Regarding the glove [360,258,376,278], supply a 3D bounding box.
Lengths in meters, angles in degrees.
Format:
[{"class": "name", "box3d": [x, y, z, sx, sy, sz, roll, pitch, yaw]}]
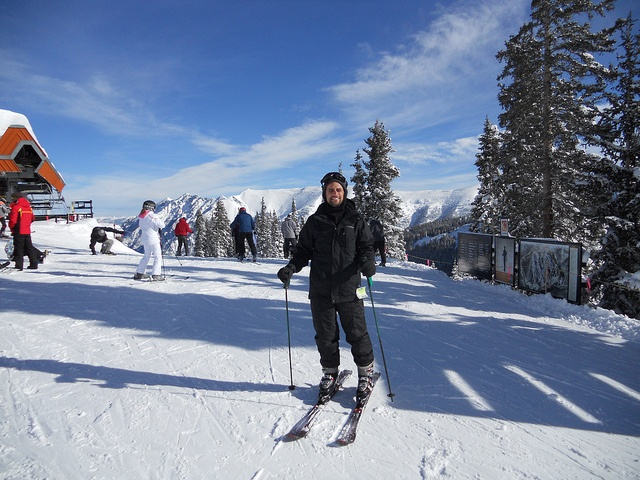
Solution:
[{"class": "glove", "box3d": [0.939, 0.570, 8.671, 0.279, 0.401, 0.406, 4, 9, 4]}]

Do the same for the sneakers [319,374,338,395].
[{"class": "sneakers", "box3d": [0.163, 2.855, 8.874, 0.211, 0.235, 0.538, -5, -14, 9]}]

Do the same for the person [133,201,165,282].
[{"class": "person", "box3d": [-5.306, 0.021, 14.002, 0.839, 2.503, 0.862, 0, 10, -21]}]

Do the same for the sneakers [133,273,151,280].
[{"class": "sneakers", "box3d": [-5.685, 1.122, 14.281, 0.580, 0.258, 0.212, 0, 5, -44]}]

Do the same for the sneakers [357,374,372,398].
[{"class": "sneakers", "box3d": [0.886, 2.886, 8.854, 0.247, 0.179, 0.583, 5, -21, 4]}]

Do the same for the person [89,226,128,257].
[{"class": "person", "box3d": [-9.942, 0.011, 20.552, 0.970, 1.467, 2.293, -1, 11, -27]}]

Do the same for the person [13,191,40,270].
[{"class": "person", "box3d": [-9.709, -0.219, 14.697, 0.726, 2.398, 0.672, -3, 12, -34]}]

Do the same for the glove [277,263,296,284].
[{"class": "glove", "box3d": [-0.630, 0.656, 8.916, 0.188, 0.390, 0.316, 35, -57, -21]}]

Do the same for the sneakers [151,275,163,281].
[{"class": "sneakers", "box3d": [-5.127, 1.188, 14.150, 0.211, 0.122, 0.211, 3, 4, 43]}]

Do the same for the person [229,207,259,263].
[{"class": "person", "box3d": [-3.241, -0.251, 18.953, 1.012, 2.223, 0.828, -2, -7, -13]}]
